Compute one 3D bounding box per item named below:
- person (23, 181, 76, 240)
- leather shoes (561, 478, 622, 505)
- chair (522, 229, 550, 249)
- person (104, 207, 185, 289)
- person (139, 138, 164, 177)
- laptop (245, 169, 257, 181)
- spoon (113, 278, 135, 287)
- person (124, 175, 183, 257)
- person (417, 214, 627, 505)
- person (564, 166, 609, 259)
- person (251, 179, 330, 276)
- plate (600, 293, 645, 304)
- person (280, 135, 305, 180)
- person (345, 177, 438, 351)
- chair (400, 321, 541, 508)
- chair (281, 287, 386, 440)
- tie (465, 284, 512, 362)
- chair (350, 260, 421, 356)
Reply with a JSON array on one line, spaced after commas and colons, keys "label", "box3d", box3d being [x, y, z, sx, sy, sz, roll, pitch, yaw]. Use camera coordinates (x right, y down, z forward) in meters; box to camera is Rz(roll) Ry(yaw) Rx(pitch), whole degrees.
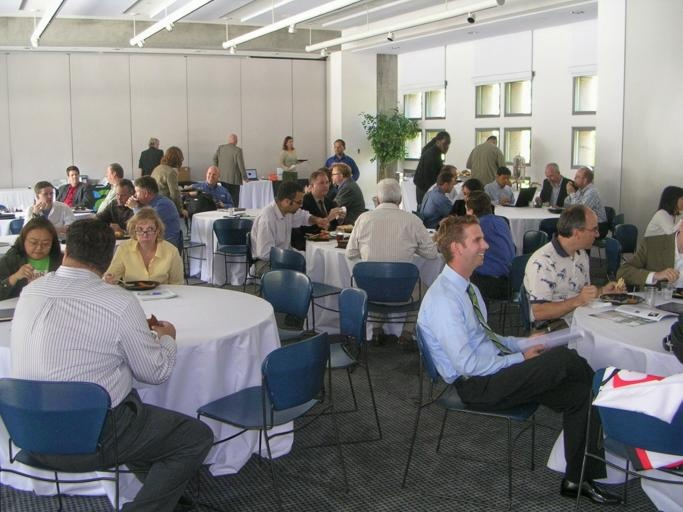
[{"label": "person", "box3d": [-3.134, -0.388, 6.145, 0.392, 0.743, 0.467, 0, 4, 45]}, {"label": "leather shoes", "box3d": [1.249, 1.194, 2.942, 0.320, 0.135, 0.123, 1, 2, 19]}, {"label": "chair", "box3d": [1.926, -0.159, 5.746, 0.199, 0.272, 0.208, 2, 8, 40]}, {"label": "person", "box3d": [-1.313, -0.043, 4.226, 0.619, 0.731, 0.480, 0, 3, -7]}, {"label": "person", "box3d": [-3.695, -1.764, 11.306, 0.448, 1.211, 0.344, -6, 37, -17]}, {"label": "laptop", "box3d": [-1.848, -1.655, 11.740, 0.301, 0.223, 0.243, -1, 0, -24]}, {"label": "spoon", "box3d": [-1.413, 0.186, 3.764, 0.096, 0.024, 0.095, 6, 6, -42]}, {"label": "person", "box3d": [-2.003, -0.295, 6.201, 0.466, 1.024, 0.410, -10, 5, -35]}, {"label": "person", "box3d": [0.839, 0.526, 2.972, 0.855, 1.407, 0.411, 7, 15, 32]}, {"label": "person", "box3d": [3.021, -0.557, 7.209, 0.520, 1.002, 0.437, 3, 0, 42]}, {"label": "person", "box3d": [-0.562, -0.204, 5.812, 0.793, 1.101, 0.526, -12, 26, -32]}, {"label": "plate", "box3d": [1.668, 0.258, 3.398, 0.142, 0.026, 0.108, 1, 9, 0]}, {"label": "person", "box3d": [-1.086, -2.077, 12.211, 0.405, 0.906, 0.692, -2, 12, -4]}, {"label": "person", "box3d": [0.440, -0.016, 5.124, 0.744, 1.347, 0.640, 5, 19, 18]}, {"label": "chair", "box3d": [0.812, 0.787, 3.450, 0.946, 1.278, 0.751, -1, 3, 22]}, {"label": "chair", "box3d": [0.066, 0.598, 4.114, 0.724, 1.310, 0.720, -2, 5, -26]}, {"label": "tie", "box3d": [0.942, 0.417, 3.667, 0.057, 0.567, 0.083, -32, -1, 15]}, {"label": "chair", "box3d": [0.382, 0.348, 4.788, 0.586, 0.916, 0.613, 0, 10, 4]}]
